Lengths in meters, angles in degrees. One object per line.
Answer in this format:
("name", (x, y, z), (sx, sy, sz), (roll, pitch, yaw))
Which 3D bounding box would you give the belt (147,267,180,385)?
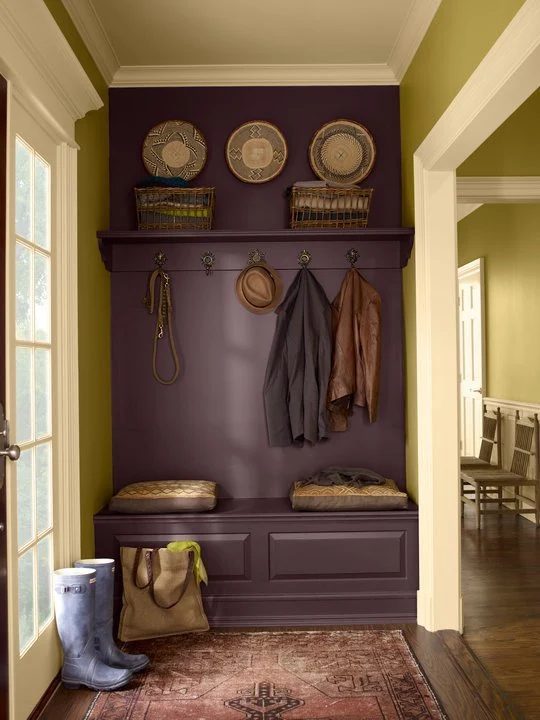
("belt", (-0.584, -0.178, 3.356), (0.133, 0.627, 0.082), (-3, 0, 3))

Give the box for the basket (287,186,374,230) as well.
("basket", (0.315, -0.798, 3.224), (0.344, 0.194, 0.240), (0, 5, -5))

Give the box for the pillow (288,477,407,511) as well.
("pillow", (0.383, 0.677, 3.106), (0.560, 0.122, 0.249), (0, -1, -2))

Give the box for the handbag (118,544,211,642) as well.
("handbag", (-0.491, 1.068, 2.804), (0.358, 0.380, 0.124), (-3, -7, -2))

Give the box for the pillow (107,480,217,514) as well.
("pillow", (-0.528, 0.689, 3.078), (0.504, 0.116, 0.236), (0, -1, -2))
